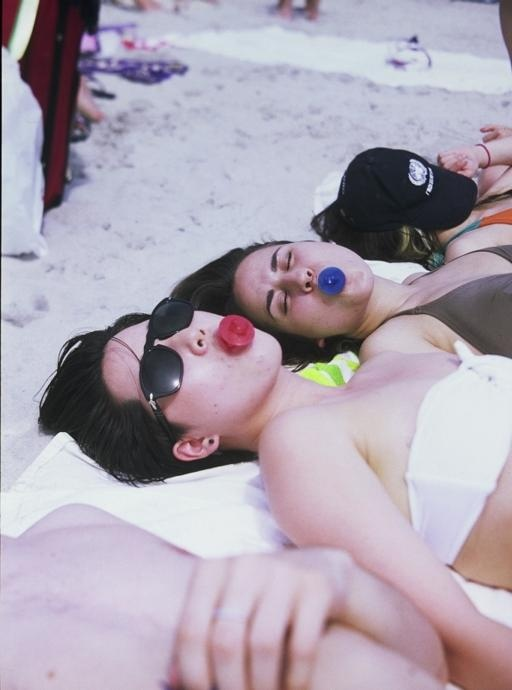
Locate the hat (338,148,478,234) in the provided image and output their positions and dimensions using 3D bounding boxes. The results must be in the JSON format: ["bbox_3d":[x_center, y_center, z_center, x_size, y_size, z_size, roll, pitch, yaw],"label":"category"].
[{"bbox_3d":[0.324,-0.334,1.545,0.291,0.093,0.153,7,71,6],"label":"hat"}]
